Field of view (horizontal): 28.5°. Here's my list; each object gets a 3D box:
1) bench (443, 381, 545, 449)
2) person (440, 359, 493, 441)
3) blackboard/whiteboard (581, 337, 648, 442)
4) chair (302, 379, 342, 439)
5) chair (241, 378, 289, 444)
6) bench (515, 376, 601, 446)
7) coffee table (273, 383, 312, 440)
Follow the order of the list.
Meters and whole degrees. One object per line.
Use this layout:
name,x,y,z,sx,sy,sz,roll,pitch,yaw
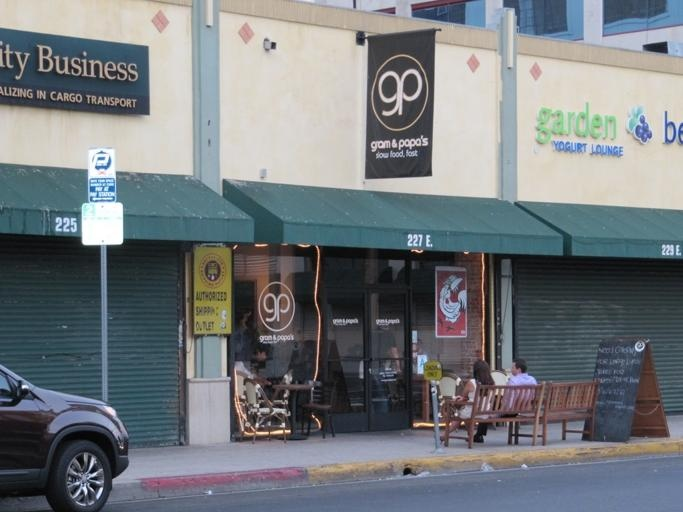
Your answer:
bench,2.808,2.885,24.894,1.658,1.298,0.670,-4,-24,35
person,2.396,2.828,25.505,0.746,1.660,0.981,5,3,-36
blackboard/whiteboard,5.297,2.531,25.640,1.129,2.049,1.392,2,-3,1
chair,-0.470,3.012,26.675,0.551,1.175,0.657,0,-7,16
chair,-1.490,3.012,26.023,0.943,1.643,1.063,1,-1,-12
bench,4.049,2.945,25.604,0.684,1.407,1.875,16,8,39
coffee table,-0.925,3.031,26.191,0.809,1.184,0.924,0,-1,6
